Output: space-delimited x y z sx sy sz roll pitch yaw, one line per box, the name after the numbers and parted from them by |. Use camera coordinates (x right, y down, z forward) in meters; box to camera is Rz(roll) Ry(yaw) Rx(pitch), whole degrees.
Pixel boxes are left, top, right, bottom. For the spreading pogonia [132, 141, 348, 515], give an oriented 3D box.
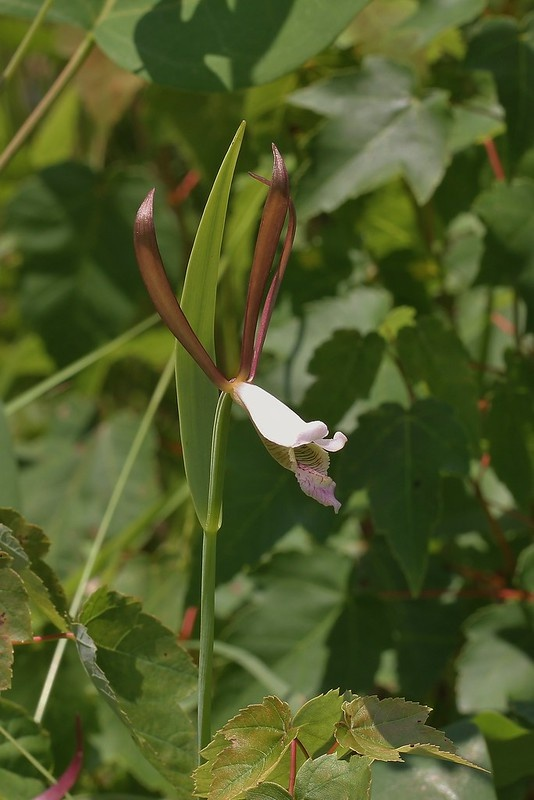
-0.015 -0.028 0.450 0.103 0.206 0.084 -24 6 -39 | spreading pogonia
